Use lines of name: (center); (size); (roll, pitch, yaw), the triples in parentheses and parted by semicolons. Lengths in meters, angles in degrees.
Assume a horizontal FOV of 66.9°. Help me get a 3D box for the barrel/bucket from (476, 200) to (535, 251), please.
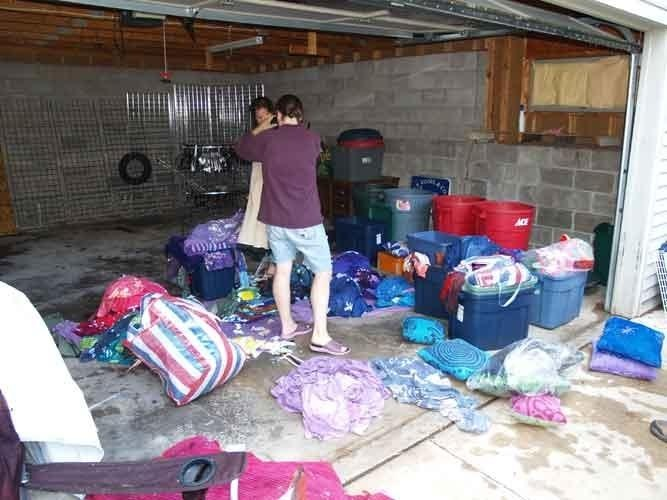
barrel/bucket: (1.779, -0.237, 5.347); (0.621, 0.427, 0.538); (-1, 11, -2)

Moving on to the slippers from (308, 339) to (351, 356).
slippers: (-0.036, 0.787, 4.156); (0.285, 0.084, 0.126); (3, 7, 6)

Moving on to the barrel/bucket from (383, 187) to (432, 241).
barrel/bucket: (0.867, -0.463, 6.518); (0.652, 0.650, 0.619); (0, 5, 0)

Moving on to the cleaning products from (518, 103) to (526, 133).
cleaning products: (2.316, -1.583, 6.179); (0.085, 0.337, 0.050); (0, 18, 6)

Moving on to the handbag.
handbag: (-1.137, 0.765, 3.694); (0.822, 0.290, 0.717); (44, 49, 10)

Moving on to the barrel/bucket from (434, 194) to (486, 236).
barrel/bucket: (1.417, -0.386, 5.760); (0.576, 0.390, 0.515); (2, 6, 26)

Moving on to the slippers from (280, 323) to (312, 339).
slippers: (-0.325, 0.720, 4.473); (0.291, 0.086, 0.103); (-10, 16, -38)

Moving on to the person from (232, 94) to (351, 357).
person: (-0.311, -0.186, 4.106); (0.631, 2.038, 0.769); (-7, 18, -15)
